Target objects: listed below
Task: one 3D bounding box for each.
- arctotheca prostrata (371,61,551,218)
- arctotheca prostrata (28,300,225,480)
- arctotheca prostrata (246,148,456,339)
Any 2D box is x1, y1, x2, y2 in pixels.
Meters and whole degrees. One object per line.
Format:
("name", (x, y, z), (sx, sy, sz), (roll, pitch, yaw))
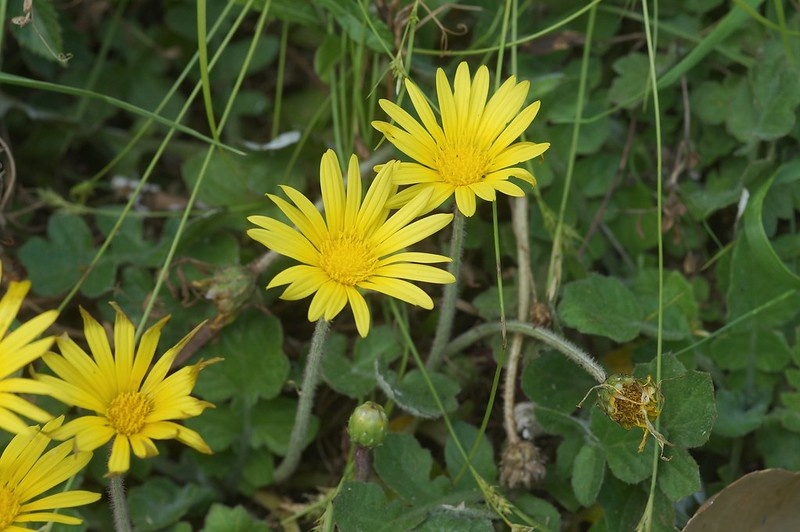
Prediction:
("arctotheca prostrata", (0.186, -0.374, 2.052), (0.487, 0.563, 0.223), (6, 77, 14))
("arctotheca prostrata", (-0.702, 0.356, 1.803), (0.432, 0.180, 0.465), (-21, 63, -31))
("arctotheca prostrata", (-0.140, -0.043, 1.861), (0.649, 0.268, 0.650), (20, 17, -7))
